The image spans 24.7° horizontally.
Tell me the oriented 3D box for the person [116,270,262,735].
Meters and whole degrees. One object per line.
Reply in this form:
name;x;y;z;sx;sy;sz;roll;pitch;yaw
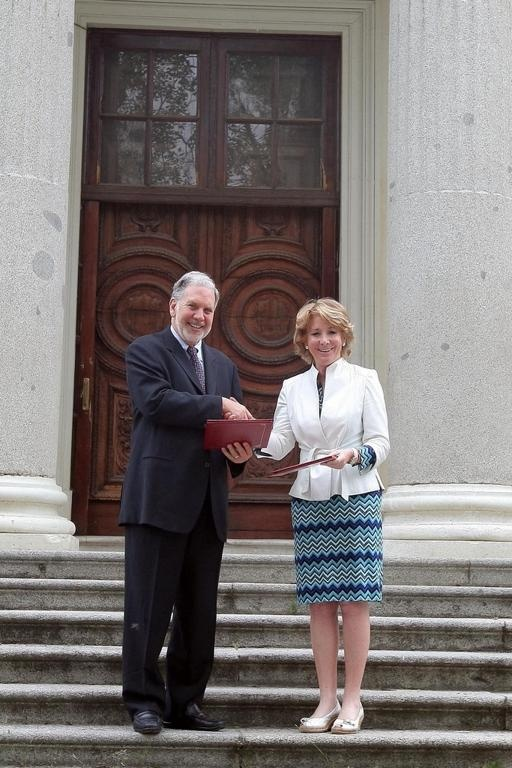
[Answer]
person;-0.276;0.418;4.323;0.453;1.375;0.567;4;2;-16

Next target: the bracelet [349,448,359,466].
bracelet;0.352;0.267;4.184;0.038;0.049;0.054;1;-38;4

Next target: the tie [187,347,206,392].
tie;-0.228;-0.063;4.452;0.040;0.235;0.035;-13;-42;-7

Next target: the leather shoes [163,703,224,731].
leather shoes;-0.213;1.214;4.242;0.235;0.083;0.081;-1;-7;8

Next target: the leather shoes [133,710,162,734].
leather shoes;-0.379;1.185;4.078;0.059;0.042;0.112;1;-2;-7

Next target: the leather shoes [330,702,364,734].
leather shoes;0.318;1.215;4.163;0.059;0.062;0.158;-5;-15;19

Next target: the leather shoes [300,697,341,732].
leather shoes;0.227;1.213;4.215;0.070;0.077;0.190;-11;-11;38

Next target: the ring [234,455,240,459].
ring;-0.072;0.268;4.163;0.019;0.013;0.016;4;1;-9
